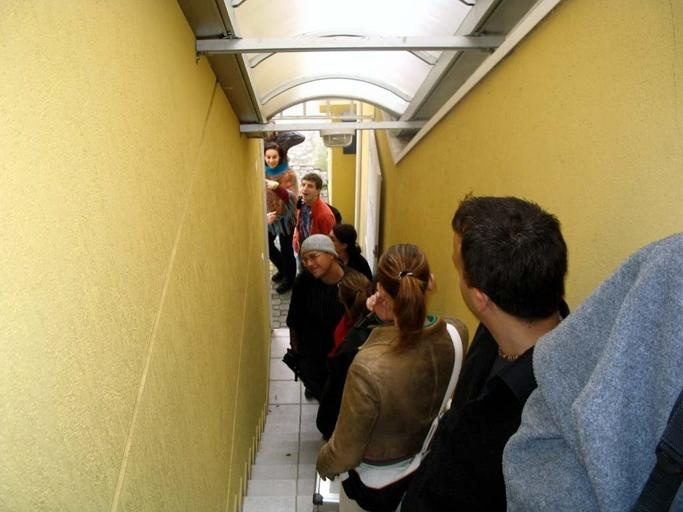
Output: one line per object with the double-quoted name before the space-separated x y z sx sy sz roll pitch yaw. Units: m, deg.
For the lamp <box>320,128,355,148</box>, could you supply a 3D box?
"lamp" -0.043 -1.219 5.185 0.290 0.157 0.354 -1 5 -1
